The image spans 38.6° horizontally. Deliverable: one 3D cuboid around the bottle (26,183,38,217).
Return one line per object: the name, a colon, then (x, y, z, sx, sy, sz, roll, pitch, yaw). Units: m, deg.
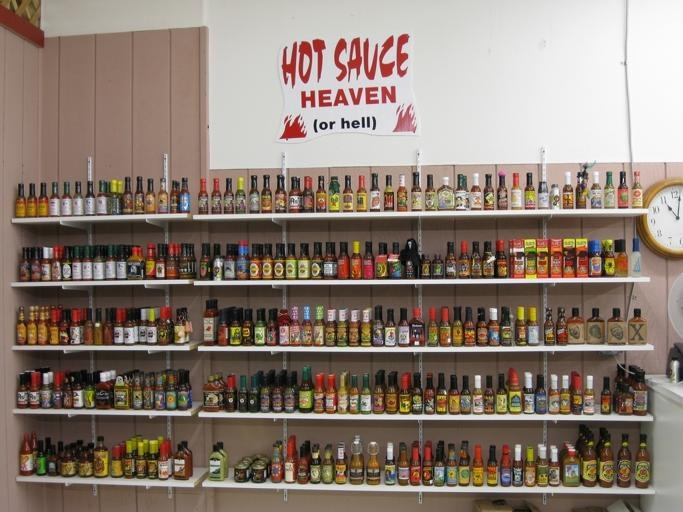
bottle: (-2.112, -0.388, 6.579, 0.068, 0.228, 0.064, -2, -6, 0)

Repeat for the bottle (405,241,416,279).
bottle: (0.458, 0.006, 6.400, 0.077, 0.259, 0.106, -3, -6, 5)

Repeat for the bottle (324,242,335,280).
bottle: (-0.083, 0.020, 6.408, 0.082, 0.234, 0.106, -3, -6, 2)

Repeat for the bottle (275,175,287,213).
bottle: (-0.404, -0.418, 6.505, 0.075, 0.268, 0.192, -3, -6, 10)

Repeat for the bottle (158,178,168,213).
bottle: (-1.216, -0.424, 6.576, 0.074, 0.274, 0.186, -1, -6, -11)

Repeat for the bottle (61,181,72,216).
bottle: (-1.864, -0.392, 6.559, 0.061, 0.222, 0.066, -2, -6, 0)

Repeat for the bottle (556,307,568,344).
bottle: (1.437, 0.443, 6.333, 0.074, 0.230, 0.074, -2, -6, 0)

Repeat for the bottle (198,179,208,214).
bottle: (-0.940, -0.411, 6.546, 0.074, 0.253, 0.218, -2, -6, -8)

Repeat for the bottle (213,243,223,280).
bottle: (-0.837, 0.028, 6.536, 0.069, 0.263, 0.233, -2, -6, -7)

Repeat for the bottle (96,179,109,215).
bottle: (-1.625, -0.400, 6.521, 0.087, 0.235, 0.054, -4, -6, 17)

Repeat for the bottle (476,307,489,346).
bottle: (0.935, 0.448, 6.363, 0.078, 0.243, 0.133, -7, -7, 40)

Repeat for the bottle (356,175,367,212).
bottle: (0.126, -0.415, 6.408, 0.077, 0.237, 0.176, -3, -6, 6)

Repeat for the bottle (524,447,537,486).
bottle: (1.228, 1.342, 6.320, 0.076, 0.255, 0.101, -5, -6, 23)

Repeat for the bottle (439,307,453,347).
bottle: (0.687, 0.447, 6.440, 0.083, 0.269, 0.242, -3, -6, 7)

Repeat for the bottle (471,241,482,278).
bottle: (0.884, 0.014, 6.377, 0.072, 0.238, 0.191, -3, -6, 7)

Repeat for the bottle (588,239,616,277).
bottle: (1.683, 0.010, 6.276, 0.184, 0.300, 0.146, 0, -6, -1)

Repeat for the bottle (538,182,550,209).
bottle: (1.320, -0.406, 6.349, 0.077, 0.185, 0.055, -4, -6, 10)

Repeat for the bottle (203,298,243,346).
bottle: (-0.830, 0.438, 6.447, 0.293, 0.375, 0.207, 1, -2, 3)

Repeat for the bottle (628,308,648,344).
bottle: (1.933, 0.444, 6.320, 0.154, 0.229, 0.097, -2, -6, -7)

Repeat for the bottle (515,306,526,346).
bottle: (1.170, 0.444, 6.323, 0.080, 0.245, 0.096, -2, -6, -4)

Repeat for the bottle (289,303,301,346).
bottle: (-0.315, 0.450, 6.389, 0.078, 0.245, 0.152, -3, -6, 5)

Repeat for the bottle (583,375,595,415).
bottle: (1.628, 0.889, 6.381, 0.076, 0.247, 0.296, -4, -6, 15)

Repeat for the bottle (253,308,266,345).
bottle: (-0.545, 0.458, 6.445, 0.088, 0.241, 0.123, -2, -6, -5)

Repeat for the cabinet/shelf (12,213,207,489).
cabinet/shelf: (-1.547, 0.634, 6.552, 1.549, 2.485, 0.519, -1, -4, 0)

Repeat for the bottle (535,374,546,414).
bottle: (1.298, 0.881, 6.333, 0.083, 0.249, 0.100, -4, -6, 18)

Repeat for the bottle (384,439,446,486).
bottle: (0.484, 1.342, 6.373, 0.236, 0.300, 0.092, 1, -1, 5)

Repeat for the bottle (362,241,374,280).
bottle: (0.188, 0.021, 6.399, 0.073, 0.248, 0.141, -5, -6, 26)

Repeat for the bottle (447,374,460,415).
bottle: (0.724, 0.886, 6.357, 0.080, 0.252, 0.149, 0, -6, -20)

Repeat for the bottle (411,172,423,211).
bottle: (0.499, -0.439, 6.461, 0.081, 0.296, 0.251, -3, -6, 6)

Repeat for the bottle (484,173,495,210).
bottle: (0.979, -0.432, 6.447, 0.078, 0.260, 0.284, -3, -6, 9)

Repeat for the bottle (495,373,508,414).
bottle: (1.059, 0.881, 6.360, 0.070, 0.254, 0.152, -6, -7, 33)

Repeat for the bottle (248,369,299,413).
bottle: (-0.444, 0.882, 6.393, 0.251, 0.227, 0.272, 0, -1, 5)

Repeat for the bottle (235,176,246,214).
bottle: (-0.683, -0.412, 6.507, 0.071, 0.258, 0.150, -2, -6, -2)

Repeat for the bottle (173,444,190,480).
bottle: (-1.073, 1.343, 6.476, 0.115, 0.246, 0.077, -1, -6, -12)

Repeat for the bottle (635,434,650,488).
bottle: (1.962, 1.311, 6.319, 0.132, 0.330, 0.085, 3, -8, -45)

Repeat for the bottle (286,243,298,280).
bottle: (-0.333, 0.023, 6.399, 0.076, 0.241, 0.056, 2, -7, -38)

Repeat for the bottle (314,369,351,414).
bottle: (-0.062, 0.882, 6.391, 0.215, 0.270, 0.078, 0, -4, -5)

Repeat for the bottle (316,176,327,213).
bottle: (-0.133, -0.421, 6.455, 0.068, 0.247, 0.156, -4, -6, 19)

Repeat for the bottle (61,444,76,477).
bottle: (-1.853, 1.354, 6.528, 0.104, 0.207, 0.057, -1, -6, -11)

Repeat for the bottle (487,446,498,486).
bottle: (1.003, 1.349, 6.400, 0.074, 0.257, 0.212, -5, -6, 22)

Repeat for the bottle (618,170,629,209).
bottle: (1.866, -0.449, 6.425, 0.078, 0.291, 0.276, -4, -6, 18)
